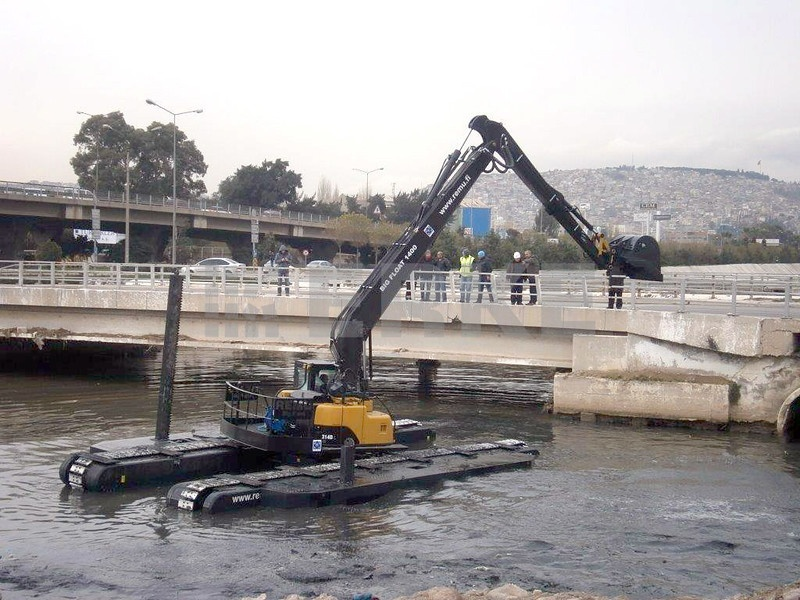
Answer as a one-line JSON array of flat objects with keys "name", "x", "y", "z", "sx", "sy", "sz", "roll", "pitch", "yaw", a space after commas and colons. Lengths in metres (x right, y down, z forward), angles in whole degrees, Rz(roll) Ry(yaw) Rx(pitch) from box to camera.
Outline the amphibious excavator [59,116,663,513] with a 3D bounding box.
[{"name": "amphibious excavator", "x": 0.286, "y": -0.300, "z": 28.392, "sx": 16.785, "sy": 8.733, "sz": 7.007, "roll": -5, "pitch": 9, "yaw": -35}]
